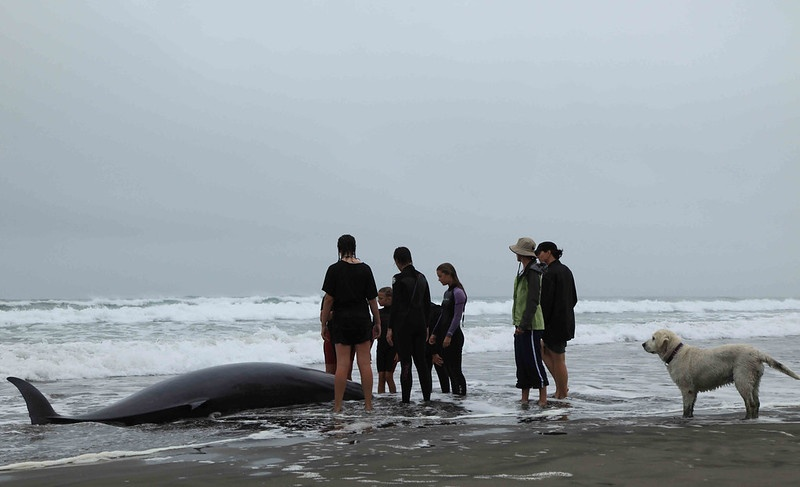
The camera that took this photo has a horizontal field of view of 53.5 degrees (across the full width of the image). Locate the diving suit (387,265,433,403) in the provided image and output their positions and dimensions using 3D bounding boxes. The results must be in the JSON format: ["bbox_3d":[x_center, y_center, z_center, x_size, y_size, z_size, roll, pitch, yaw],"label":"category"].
[{"bbox_3d":[0.255,1.789,15.683,0.895,2.728,0.442,-4,6,-33],"label":"diving suit"}]

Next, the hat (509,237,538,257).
[{"bbox_3d":[2.106,0.080,13.338,0.340,0.163,0.328,9,3,-13],"label":"hat"}]

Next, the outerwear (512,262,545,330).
[{"bbox_3d":[2.474,1.011,14.996,0.830,1.484,1.699,2,-4,7],"label":"outerwear"}]

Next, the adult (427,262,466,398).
[{"bbox_3d":[0.986,1.781,16.367,0.709,2.765,0.854,-4,6,-29],"label":"adult"}]

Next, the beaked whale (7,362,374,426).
[{"bbox_3d":[-3.941,2.957,15.549,5.974,1.271,2.174,12,-10,-20],"label":"beaked whale"}]

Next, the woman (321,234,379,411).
[{"bbox_3d":[-0.990,1.530,15.167,1.349,3.292,1.001,4,-9,-34],"label":"woman"}]

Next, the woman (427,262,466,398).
[{"bbox_3d":[0.978,1.781,16.362,0.719,2.765,0.858,-4,6,-31],"label":"woman"}]
